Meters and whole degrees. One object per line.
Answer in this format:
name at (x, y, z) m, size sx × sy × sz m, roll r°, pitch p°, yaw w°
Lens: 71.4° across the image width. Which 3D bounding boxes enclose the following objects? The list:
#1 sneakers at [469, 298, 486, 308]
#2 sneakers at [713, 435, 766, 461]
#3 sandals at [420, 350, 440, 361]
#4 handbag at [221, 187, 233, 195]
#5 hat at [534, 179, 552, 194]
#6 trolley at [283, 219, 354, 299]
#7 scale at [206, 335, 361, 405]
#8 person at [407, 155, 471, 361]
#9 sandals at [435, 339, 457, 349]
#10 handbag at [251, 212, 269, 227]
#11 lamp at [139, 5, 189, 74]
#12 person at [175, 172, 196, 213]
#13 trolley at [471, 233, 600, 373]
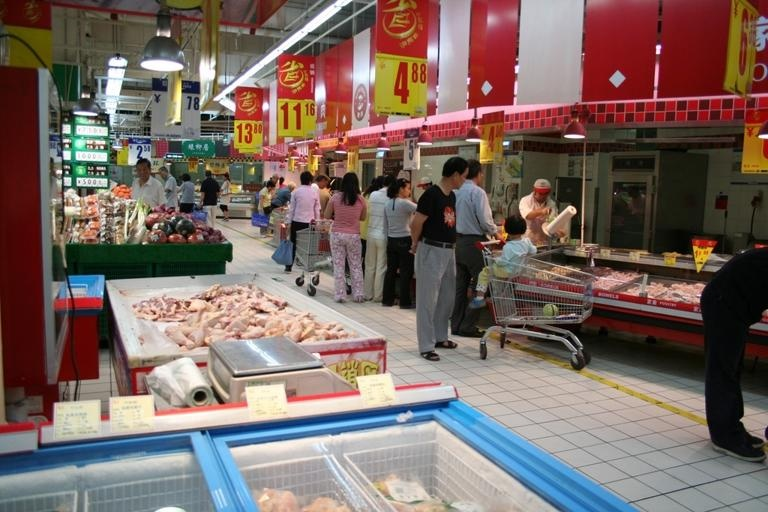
sneakers at (1.124, 0.579, 6.486) m, size 0.200 × 0.136 × 0.124 m, roll 6°, pitch 7°, yaw 36°
sneakers at (2.881, 1.559, 4.360) m, size 0.390 × 0.175 × 0.154 m, roll 2°, pitch 1°, yaw 26°
sandals at (0.536, 1.138, 6.086) m, size 0.088 × 0.065 × 0.229 m, roll -1°, pitch -1°, yaw -23°
handbag at (-6.650, -2.737, 22.370) m, size 0.242 × 0.295 × 0.322 m, roll -1°, pitch -22°, yaw -4°
hat at (2.399, -1.044, 8.145) m, size 0.286 × 0.214 × 0.397 m, roll 0°, pitch 8°, yaw -1°
trolley at (-1.102, -0.038, 9.578) m, size 0.801 × 1.271 × 1.316 m, roll -2°, pitch 6°, yaw -24°
scale at (-0.623, 0.637, 3.006) m, size 0.457 × 0.142 × 0.462 m, roll -1°, pitch 6°, yaw -23°
person at (0.597, 0.037, 6.125) m, size 0.395 × 2.301 × 0.645 m, roll 10°, pitch 13°, yaw 42°
sandals at (0.768, 1.093, 6.583) m, size 0.247 × 0.083 × 0.109 m, roll -1°, pitch 6°, yaw -3°
handbag at (-3.934, -1.165, 17.409) m, size 0.570 × 0.570 × 0.145 m, roll 0°, pitch 5°, yaw 31°
lamp at (-2.799, -2.753, 6.723) m, size 0.510 × 0.852 × 1.174 m, roll -2°, pitch 10°, yaw -21°
person at (-6.098, -1.925, 16.425) m, size 0.470 × 1.126 × 1.515 m, roll -2°, pitch 10°, yaw -21°
trolley at (1.797, 0.559, 6.291) m, size 1.248 × 1.340 × 0.759 m, roll 4°, pitch 4°, yaw 28°
